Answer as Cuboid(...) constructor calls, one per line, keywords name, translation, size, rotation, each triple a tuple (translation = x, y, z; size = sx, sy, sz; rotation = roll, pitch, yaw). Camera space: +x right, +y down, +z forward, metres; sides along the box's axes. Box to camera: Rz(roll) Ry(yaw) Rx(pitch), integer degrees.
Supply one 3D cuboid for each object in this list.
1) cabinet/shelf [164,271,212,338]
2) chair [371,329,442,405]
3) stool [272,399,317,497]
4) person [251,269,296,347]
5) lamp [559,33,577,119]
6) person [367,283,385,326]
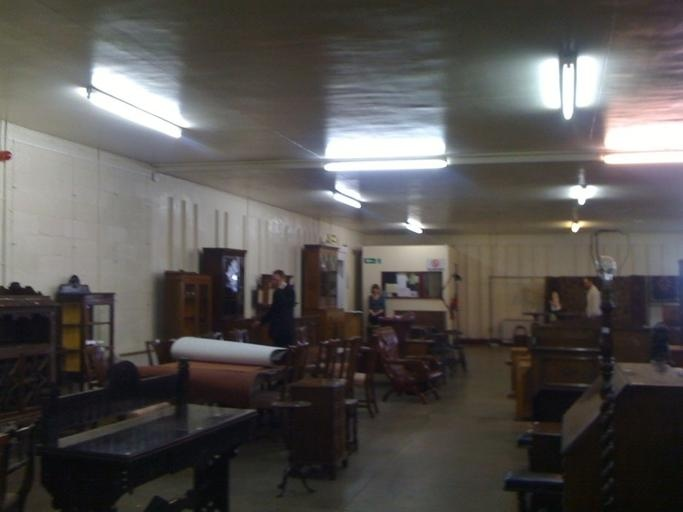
Cuboid(name="cabinet/shelf", translation=(-2.349, 0.732, 9.378), size=(0.407, 1.343, 0.960), rotation=(-1, -3, 12))
Cuboid(name="chair", translation=(0.956, 1.679, 9.582), size=(1.158, 1.300, 0.970), rotation=(-3, -6, 16))
Cuboid(name="stool", translation=(-0.440, 1.858, 5.934), size=(0.576, 0.800, 0.574), rotation=(-6, -16, 15))
Cuboid(name="person", translation=(-0.943, 0.785, 9.200), size=(0.535, 0.792, 0.793), rotation=(1, -1, -7))
Cuboid(name="lamp", translation=(1.985, -1.554, 5.440), size=(0.128, 0.598, 0.052), rotation=(6, 16, 36))
Cuboid(name="person", translation=(0.837, 1.181, 14.985), size=(0.355, 0.945, 0.911), rotation=(1, -1, 4))
